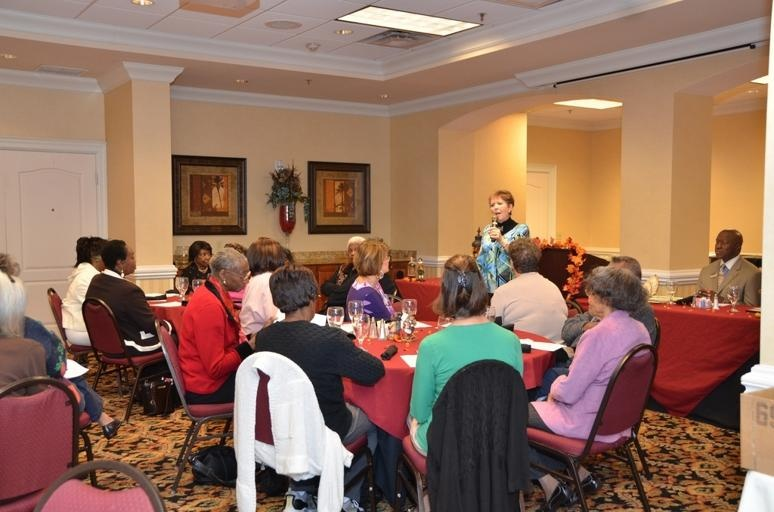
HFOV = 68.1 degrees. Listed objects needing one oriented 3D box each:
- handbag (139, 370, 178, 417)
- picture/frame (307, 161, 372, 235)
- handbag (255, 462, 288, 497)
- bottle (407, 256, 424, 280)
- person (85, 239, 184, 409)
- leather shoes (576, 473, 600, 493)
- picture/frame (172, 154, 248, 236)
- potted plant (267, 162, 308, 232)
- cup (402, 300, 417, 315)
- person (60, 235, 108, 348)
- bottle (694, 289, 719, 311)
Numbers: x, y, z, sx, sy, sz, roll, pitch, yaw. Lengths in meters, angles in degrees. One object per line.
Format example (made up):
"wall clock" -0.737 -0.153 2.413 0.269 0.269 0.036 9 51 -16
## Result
"handbag" -2.147 1.299 5.437 0.281 0.342 0.283 -7 1 -27
"picture/frame" -0.847 -0.989 9.503 1.260 1.265 0.102 0 0 -34
"handbag" -0.847 1.610 4.212 0.142 0.177 0.420 4 -1 -5
"bottle" 0.406 0.170 8.083 0.133 0.405 0.313 3 -4 -27
"person" -2.474 0.714 5.770 0.726 1.683 0.922 2 11 24
"leather shoes" 1.424 1.596 4.072 0.162 0.114 0.312 -2 -1 23
"picture/frame" -2.708 -0.920 8.582 1.278 1.304 0.097 0 0 -34
"potted plant" -1.587 -0.928 9.082 0.678 1.002 0.680 -2 1 5
"cup" 0.156 0.382 4.383 0.119 0.134 0.120 2 6 0
"person" -3.019 0.348 5.996 0.726 1.089 0.662 3 1 -29
"bottle" 3.103 0.429 5.595 0.163 0.179 0.254 1 -1 11
